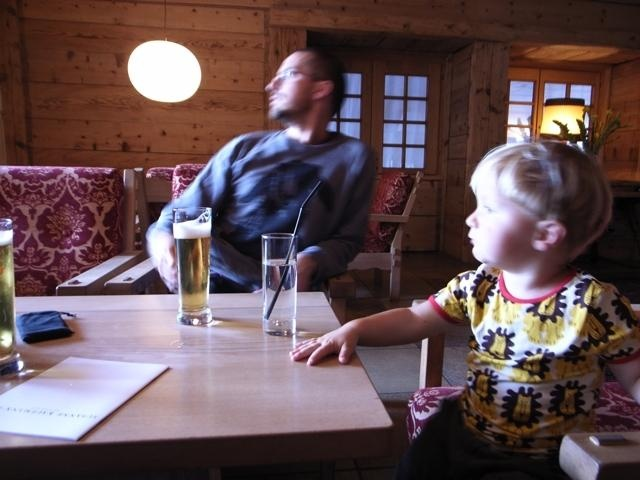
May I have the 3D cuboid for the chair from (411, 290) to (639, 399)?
[{"bbox_3d":[0.473,0.300,1.543,0.562,0.335,0.292,-1,-1,5],"label":"chair"}]

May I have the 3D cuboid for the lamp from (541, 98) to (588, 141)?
[{"bbox_3d":[2.191,-1.126,4.879,0.282,0.262,0.284,15,-5,41],"label":"lamp"}]

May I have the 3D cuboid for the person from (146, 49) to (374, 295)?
[{"bbox_3d":[-0.181,-0.210,1.789,0.683,0.772,0.630,6,16,5],"label":"person"}]
